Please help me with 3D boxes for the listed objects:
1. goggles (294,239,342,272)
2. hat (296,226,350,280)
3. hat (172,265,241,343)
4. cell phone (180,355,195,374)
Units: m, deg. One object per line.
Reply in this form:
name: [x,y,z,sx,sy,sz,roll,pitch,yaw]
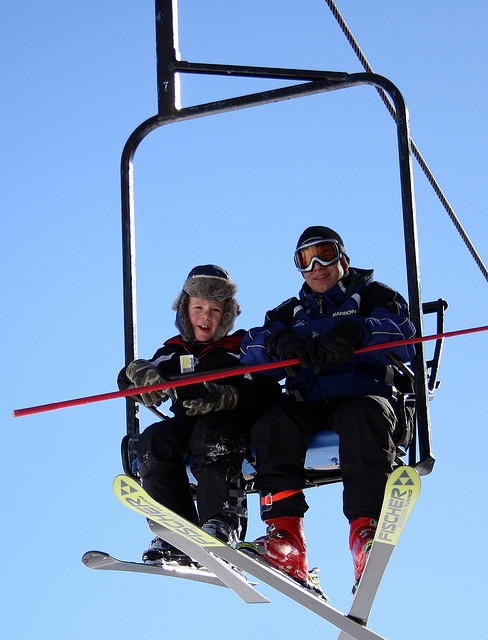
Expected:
goggles: [0.285,-0.247,4.516,0.176,0.124,0.100,1,-26,4]
hat: [0.280,-0.272,4.603,0.202,0.192,0.270,-8,-2,39]
hat: [-0.136,-0.069,4.829,0.274,0.293,0.234,4,6,2]
cell phone: [-0.200,0.164,4.515,0.048,0.063,0.018,-6,-7,6]
